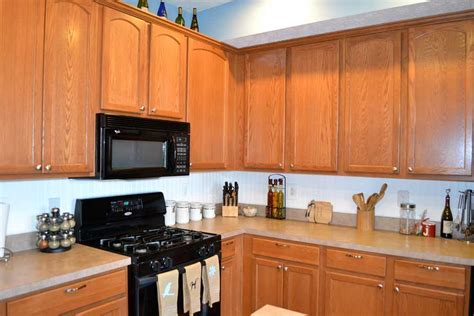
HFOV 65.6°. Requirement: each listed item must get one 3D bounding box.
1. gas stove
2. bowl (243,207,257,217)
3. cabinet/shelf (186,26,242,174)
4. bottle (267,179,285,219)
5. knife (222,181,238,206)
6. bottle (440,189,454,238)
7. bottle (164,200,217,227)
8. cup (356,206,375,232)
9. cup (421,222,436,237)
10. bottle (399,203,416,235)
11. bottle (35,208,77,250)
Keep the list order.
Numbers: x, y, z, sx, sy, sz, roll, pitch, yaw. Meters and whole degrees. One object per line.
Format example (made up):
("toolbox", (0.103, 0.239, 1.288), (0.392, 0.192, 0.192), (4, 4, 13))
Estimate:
("gas stove", (-0.714, 0.839, 3.303), (0.707, 0.281, 1.002), (3, 1, 34))
("bowl", (0.163, 0.629, 4.355), (0.125, 0.069, 0.129), (-2, -4, 0))
("cabinet/shelf", (-0.237, -0.551, 3.948), (0.240, 1.352, 0.765), (15, 15, 42))
("bottle", (0.469, 0.460, 4.291), (0.234, 0.460, 0.200), (7, 11, 12))
("knife", (-0.077, 0.425, 4.331), (0.225, 0.304, 0.269), (2, 6, 8))
("bottle", (2.018, 0.526, 3.496), (0.127, 0.444, 0.179), (11, 13, 29))
("bottle", (-0.531, 0.560, 4.001), (0.198, 0.269, 0.652), (15, 15, 43))
("cup", (1.306, 0.620, 3.756), (0.222, 0.219, 0.214), (1, 1, 0))
("cup", (1.831, 0.678, 3.522), (0.138, 0.131, 0.132), (0, 3, 0))
("bottle", (1.687, 0.586, 3.636), (0.172, 0.305, 0.154), (7, 11, 13))
("bottle", (-1.432, 0.568, 3.080), (0.351, 0.355, 0.347), (1, 2, 10))
